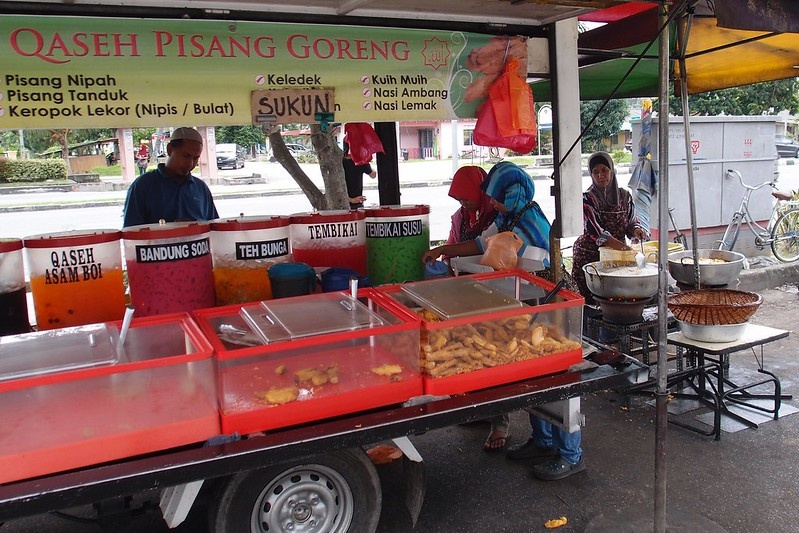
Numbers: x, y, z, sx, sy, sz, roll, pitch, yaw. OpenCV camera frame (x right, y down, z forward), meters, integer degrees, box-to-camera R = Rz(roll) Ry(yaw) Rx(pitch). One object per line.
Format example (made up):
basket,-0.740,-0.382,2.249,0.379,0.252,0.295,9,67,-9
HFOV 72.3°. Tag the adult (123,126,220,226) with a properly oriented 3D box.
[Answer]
adult,-1.983,-0.739,4.830,0.552,0.922,1.014,6,7,37

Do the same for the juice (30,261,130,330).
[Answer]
juice,-1.891,0.174,3.283,0.654,0.421,0.352,-5,3,-27

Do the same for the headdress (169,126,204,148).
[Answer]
headdress,-1.793,-1.082,4.569,0.194,0.094,0.188,5,14,19

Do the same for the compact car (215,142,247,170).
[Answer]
compact car,-9.907,-6.324,31.183,1.879,1.291,2.959,-1,3,0

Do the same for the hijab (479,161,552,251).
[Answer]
hijab,0.953,-0.496,4.537,0.553,0.720,0.769,-10,15,-10

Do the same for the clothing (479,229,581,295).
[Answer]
clothing,0.877,-0.057,3.886,0.551,0.540,0.437,-3,7,5

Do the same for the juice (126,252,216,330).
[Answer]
juice,-1.354,0.162,3.277,0.420,0.366,0.403,-1,2,12

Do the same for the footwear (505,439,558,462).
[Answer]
footwear,1.025,1.467,4.364,0.421,0.159,0.146,1,-1,-2

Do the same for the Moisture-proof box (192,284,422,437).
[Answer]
Moisture-proof box,-0.409,0.576,2.894,1.020,0.391,0.707,-7,14,-25

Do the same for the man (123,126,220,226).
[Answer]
man,-1.982,-0.737,4.833,0.555,0.920,1.013,8,9,37

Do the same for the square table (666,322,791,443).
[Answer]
square table,2.952,1.107,4.971,1.292,0.616,1.066,-4,3,-35

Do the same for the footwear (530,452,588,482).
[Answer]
footwear,1.211,1.518,4.163,0.388,0.139,0.156,-2,5,-15

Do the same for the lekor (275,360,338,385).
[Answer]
lekor,-0.481,0.557,2.877,0.250,0.052,0.132,-1,30,-11
